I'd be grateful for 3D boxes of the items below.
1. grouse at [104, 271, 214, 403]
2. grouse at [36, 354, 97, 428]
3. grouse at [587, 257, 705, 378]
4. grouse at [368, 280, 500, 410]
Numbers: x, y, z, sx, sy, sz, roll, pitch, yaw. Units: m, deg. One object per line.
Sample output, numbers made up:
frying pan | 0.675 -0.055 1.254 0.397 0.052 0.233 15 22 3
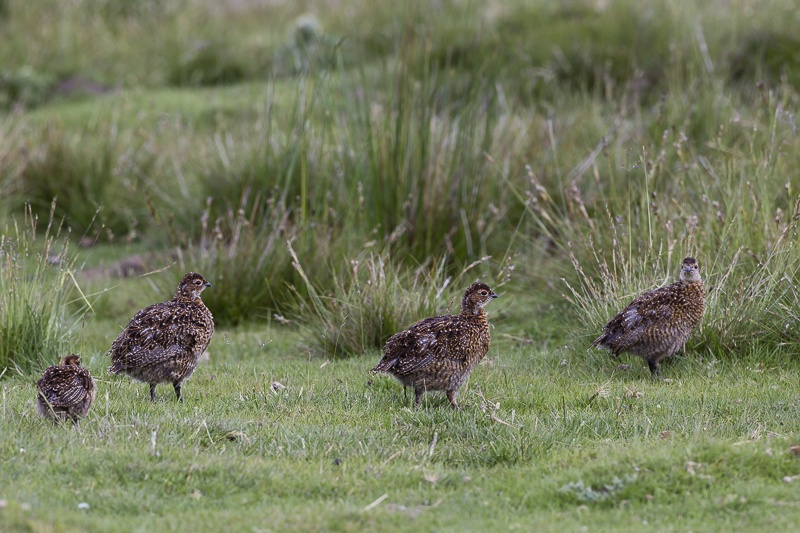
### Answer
grouse | -2.175 0.713 8.748 0.655 1.309 1.174 -5 -2 39
grouse | -2.874 1.085 7.933 0.424 0.660 0.594 -9 -1 8
grouse | 2.476 0.441 8.987 0.997 0.920 0.374 -3 16 -11
grouse | 0.300 0.762 8.541 1.148 1.167 0.679 0 -5 -22
